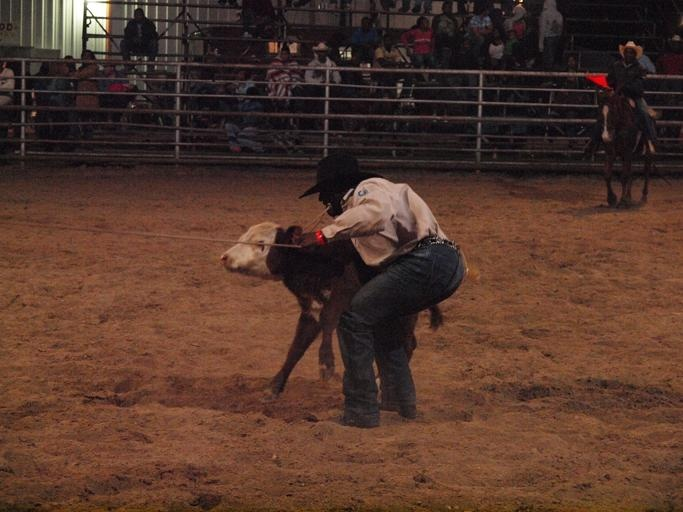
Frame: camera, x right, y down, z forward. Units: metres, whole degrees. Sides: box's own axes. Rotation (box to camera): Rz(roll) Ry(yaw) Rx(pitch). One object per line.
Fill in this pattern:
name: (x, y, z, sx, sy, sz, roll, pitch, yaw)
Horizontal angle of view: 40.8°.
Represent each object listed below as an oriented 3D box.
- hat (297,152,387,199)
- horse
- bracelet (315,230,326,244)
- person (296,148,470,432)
hat: (-0.016, -0.658, 7.612, 0.537, 0.215, 0.414, -20, 4, 1)
horse: (4.459, -1.689, 14.429, 0.542, 1.695, 2.186, 3, 7, 32)
bracelet: (-0.167, -0.145, 7.372, 0.052, 0.116, 0.158, -2, 8, -22)
person: (0.316, 0.305, 7.544, 1.284, 2.250, 0.499, 1, 7, -3)
